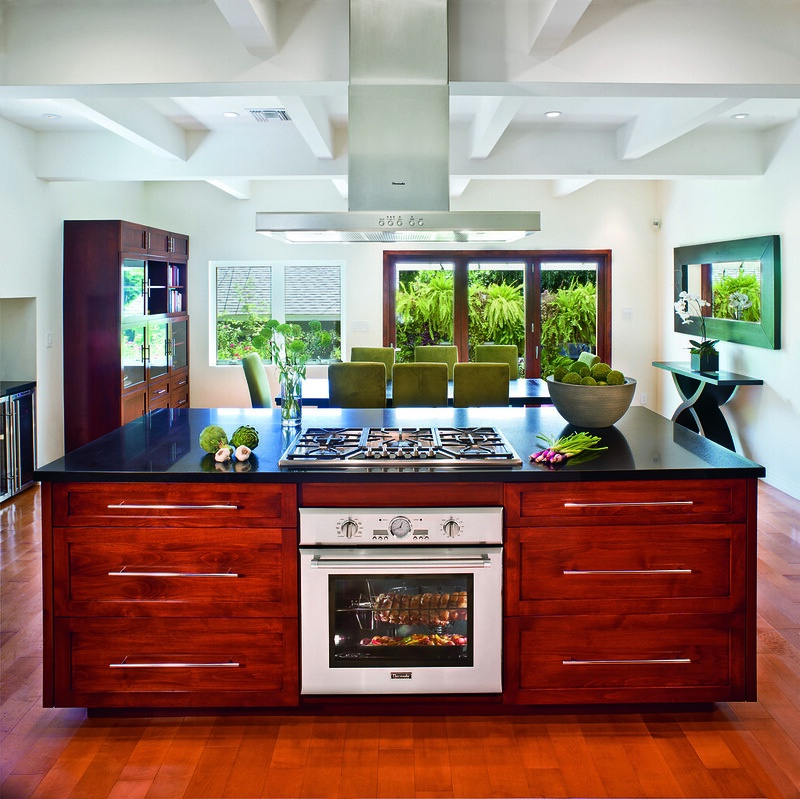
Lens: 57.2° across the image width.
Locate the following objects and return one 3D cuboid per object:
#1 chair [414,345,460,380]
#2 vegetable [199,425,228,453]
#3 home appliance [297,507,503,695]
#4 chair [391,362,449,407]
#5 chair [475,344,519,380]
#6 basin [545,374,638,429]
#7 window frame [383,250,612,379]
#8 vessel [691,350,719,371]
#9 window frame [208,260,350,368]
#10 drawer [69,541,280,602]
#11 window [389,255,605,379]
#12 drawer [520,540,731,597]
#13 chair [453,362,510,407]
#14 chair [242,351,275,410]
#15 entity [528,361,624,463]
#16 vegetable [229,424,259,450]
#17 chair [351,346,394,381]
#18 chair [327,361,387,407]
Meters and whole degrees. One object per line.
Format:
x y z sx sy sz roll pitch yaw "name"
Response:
0.338 -0.319 6.350 0.326 0.249 0.316 1 -1 -1 "chair"
-0.660 0.144 2.628 0.086 0.092 0.106 -1 2 -17 "vegetable"
0.028 0.539 2.649 0.850 0.799 0.574 0 7 1 "home appliance"
0.132 -0.086 4.703 0.303 0.225 0.289 0 1 1 "chair"
0.859 -0.350 6.336 0.325 0.248 0.318 1 8 2 "chair"
0.789 0.018 3.014 0.262 0.144 0.262 1 1 0 "basin"
0.939 -0.926 7.307 1.476 1.089 0.149 0 0 -1 "window frame"
2.502 -0.311 6.012 0.178 0.132 0.177 0 0 -3 "vessel"
-1.288 -0.916 7.810 1.391 1.076 0.209 0 8 1 "window frame"
-0.760 0.546 2.263 0.404 0.131 0.293 1 -2 -2 "drawer"
0.933 -0.898 7.304 1.429 1.053 0.150 0 1 -2 "window"
0.741 0.569 2.520 0.391 0.116 0.278 0 -3 -1 "drawer"
0.527 -0.089 4.778 0.301 0.225 0.291 0 0 0 "chair"
-1.102 -0.138 5.744 0.320 0.288 0.516 0 -28 -15 "chair"
0.670 0.023 2.827 0.309 0.241 0.490 4 12 32 "entity"
-0.547 0.135 2.636 0.087 0.047 0.091 1 10 5 "vegetable"
-0.216 -0.280 6.083 0.320 0.234 0.305 1 -2 0 "chair"
-0.267 -0.114 4.721 0.308 0.267 0.301 0 6 -1 "chair"
